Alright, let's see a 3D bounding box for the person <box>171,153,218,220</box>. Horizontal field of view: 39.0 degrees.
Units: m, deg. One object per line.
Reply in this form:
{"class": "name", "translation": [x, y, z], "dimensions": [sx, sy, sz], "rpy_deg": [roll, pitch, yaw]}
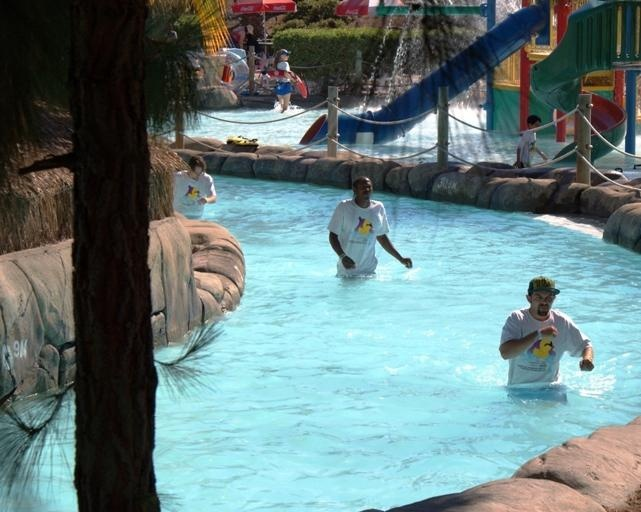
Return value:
{"class": "person", "translation": [-1.686, -0.667, 11.693], "dimensions": [0.570, 1.310, 0.416], "rpy_deg": [4, 23, -10]}

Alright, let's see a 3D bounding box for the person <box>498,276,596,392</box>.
{"class": "person", "translation": [1.544, 0.561, 6.233], "dimensions": [0.600, 0.883, 0.600], "rpy_deg": [2, 14, 16]}

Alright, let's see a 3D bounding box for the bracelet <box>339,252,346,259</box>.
{"class": "bracelet", "translation": [0.221, -0.025, 9.373], "dimensions": [0.052, 0.050, 0.081], "rpy_deg": [-2, 14, -1]}

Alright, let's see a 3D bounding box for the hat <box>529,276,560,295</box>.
{"class": "hat", "translation": [1.492, 0.185, 6.191], "dimensions": [0.123, 0.091, 0.170], "rpy_deg": [3, -21, -1]}

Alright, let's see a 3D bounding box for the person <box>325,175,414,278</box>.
{"class": "person", "translation": [0.493, 0.096, 9.493], "dimensions": [0.787, 1.914, 0.609], "rpy_deg": [4, 28, 9]}
